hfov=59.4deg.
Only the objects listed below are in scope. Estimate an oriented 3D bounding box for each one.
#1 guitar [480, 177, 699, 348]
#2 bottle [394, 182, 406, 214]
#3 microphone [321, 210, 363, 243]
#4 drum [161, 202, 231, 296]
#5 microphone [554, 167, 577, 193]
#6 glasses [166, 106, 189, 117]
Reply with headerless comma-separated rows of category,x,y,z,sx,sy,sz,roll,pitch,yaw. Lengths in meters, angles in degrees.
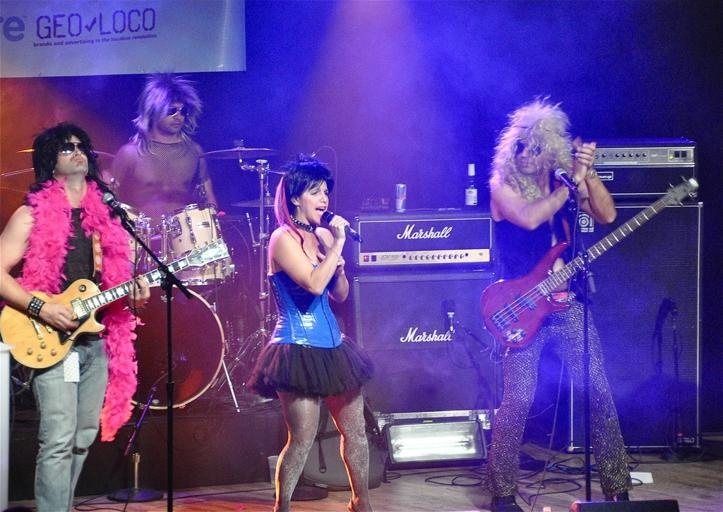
guitar,1.265,0.111,3.834,1.063,0.932,0.345,1,2,14
bottle,0.304,-0.459,4.905,0.068,0.205,0.200,1,2,-1
microphone,-0.115,-0.167,3.685,0.104,0.094,0.340,-28,50,-30
drum,-1.278,-0.063,5.018,0.679,0.686,0.618,-9,1,-38
microphone,1.168,-0.440,3.644,0.116,0.135,0.215,1,1,17
glasses,-1.534,-1.212,5.313,0.203,0.090,0.052,0,2,-41
